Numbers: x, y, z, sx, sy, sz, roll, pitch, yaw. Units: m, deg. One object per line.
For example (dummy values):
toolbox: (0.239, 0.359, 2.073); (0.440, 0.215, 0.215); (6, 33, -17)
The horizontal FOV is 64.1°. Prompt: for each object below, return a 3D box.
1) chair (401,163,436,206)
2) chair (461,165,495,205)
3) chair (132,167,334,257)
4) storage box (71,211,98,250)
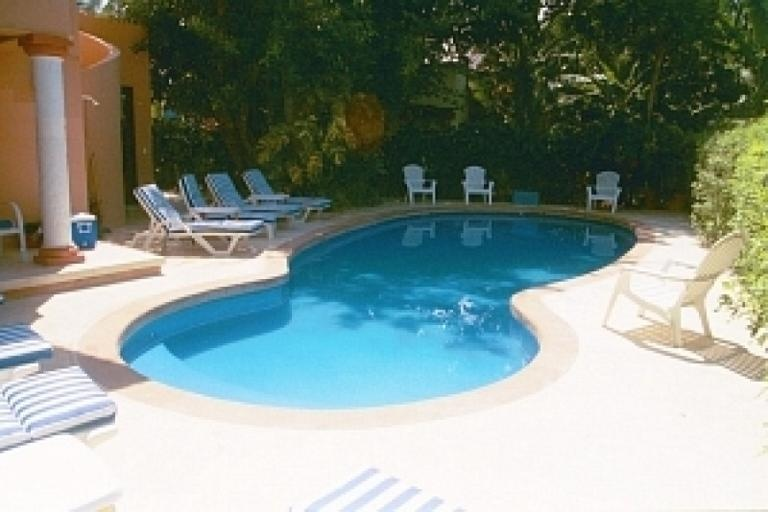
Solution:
chair: (1.323, -2.687, 22.812); (1.382, 2.109, 1.355); (1, 7, 13)
chair: (3.394, -2.539, 22.268); (1.281, 1.801, 1.321); (0, 5, 1)
chair: (-3.596, -0.937, 13.177); (2.322, 1.487, 3.883); (1, 14, 6)
storage box: (-5.028, -0.409, 10.454); (0.499, 0.552, 0.389); (0, -1, -8)
